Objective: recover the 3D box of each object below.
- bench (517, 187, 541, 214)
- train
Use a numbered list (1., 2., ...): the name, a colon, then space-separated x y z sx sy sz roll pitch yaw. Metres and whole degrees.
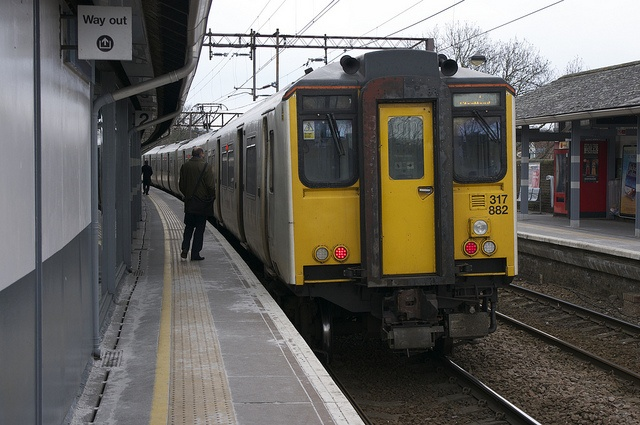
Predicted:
1. bench: 8.882 -0.475 23.262 0.402 0.770 1.087 0 0 -12
2. train: 0.208 -0.131 8.161 2.397 4.183 4.808 -4 7 -43
